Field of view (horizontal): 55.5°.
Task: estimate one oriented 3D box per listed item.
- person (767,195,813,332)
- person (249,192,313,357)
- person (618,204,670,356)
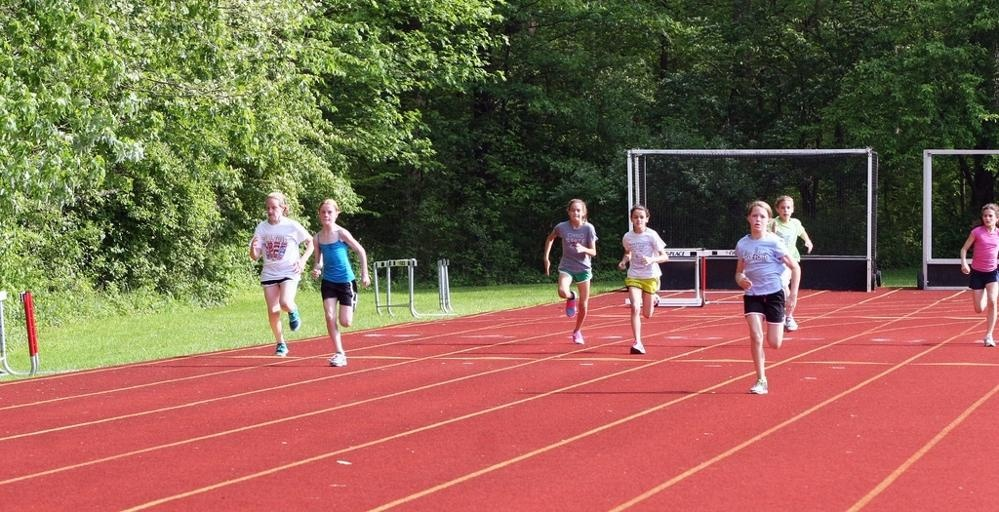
[{"bbox_3d":[6.768,0.140,22.436,1.572,3.075,1.103,-1,-2,-15],"label":"person"},{"bbox_3d":[-4.643,0.367,20.475,1.190,3.541,1.250,-6,5,-14],"label":"person"},{"bbox_3d":[3.009,0.486,20.688,1.229,3.074,1.263,0,1,28],"label":"person"}]
